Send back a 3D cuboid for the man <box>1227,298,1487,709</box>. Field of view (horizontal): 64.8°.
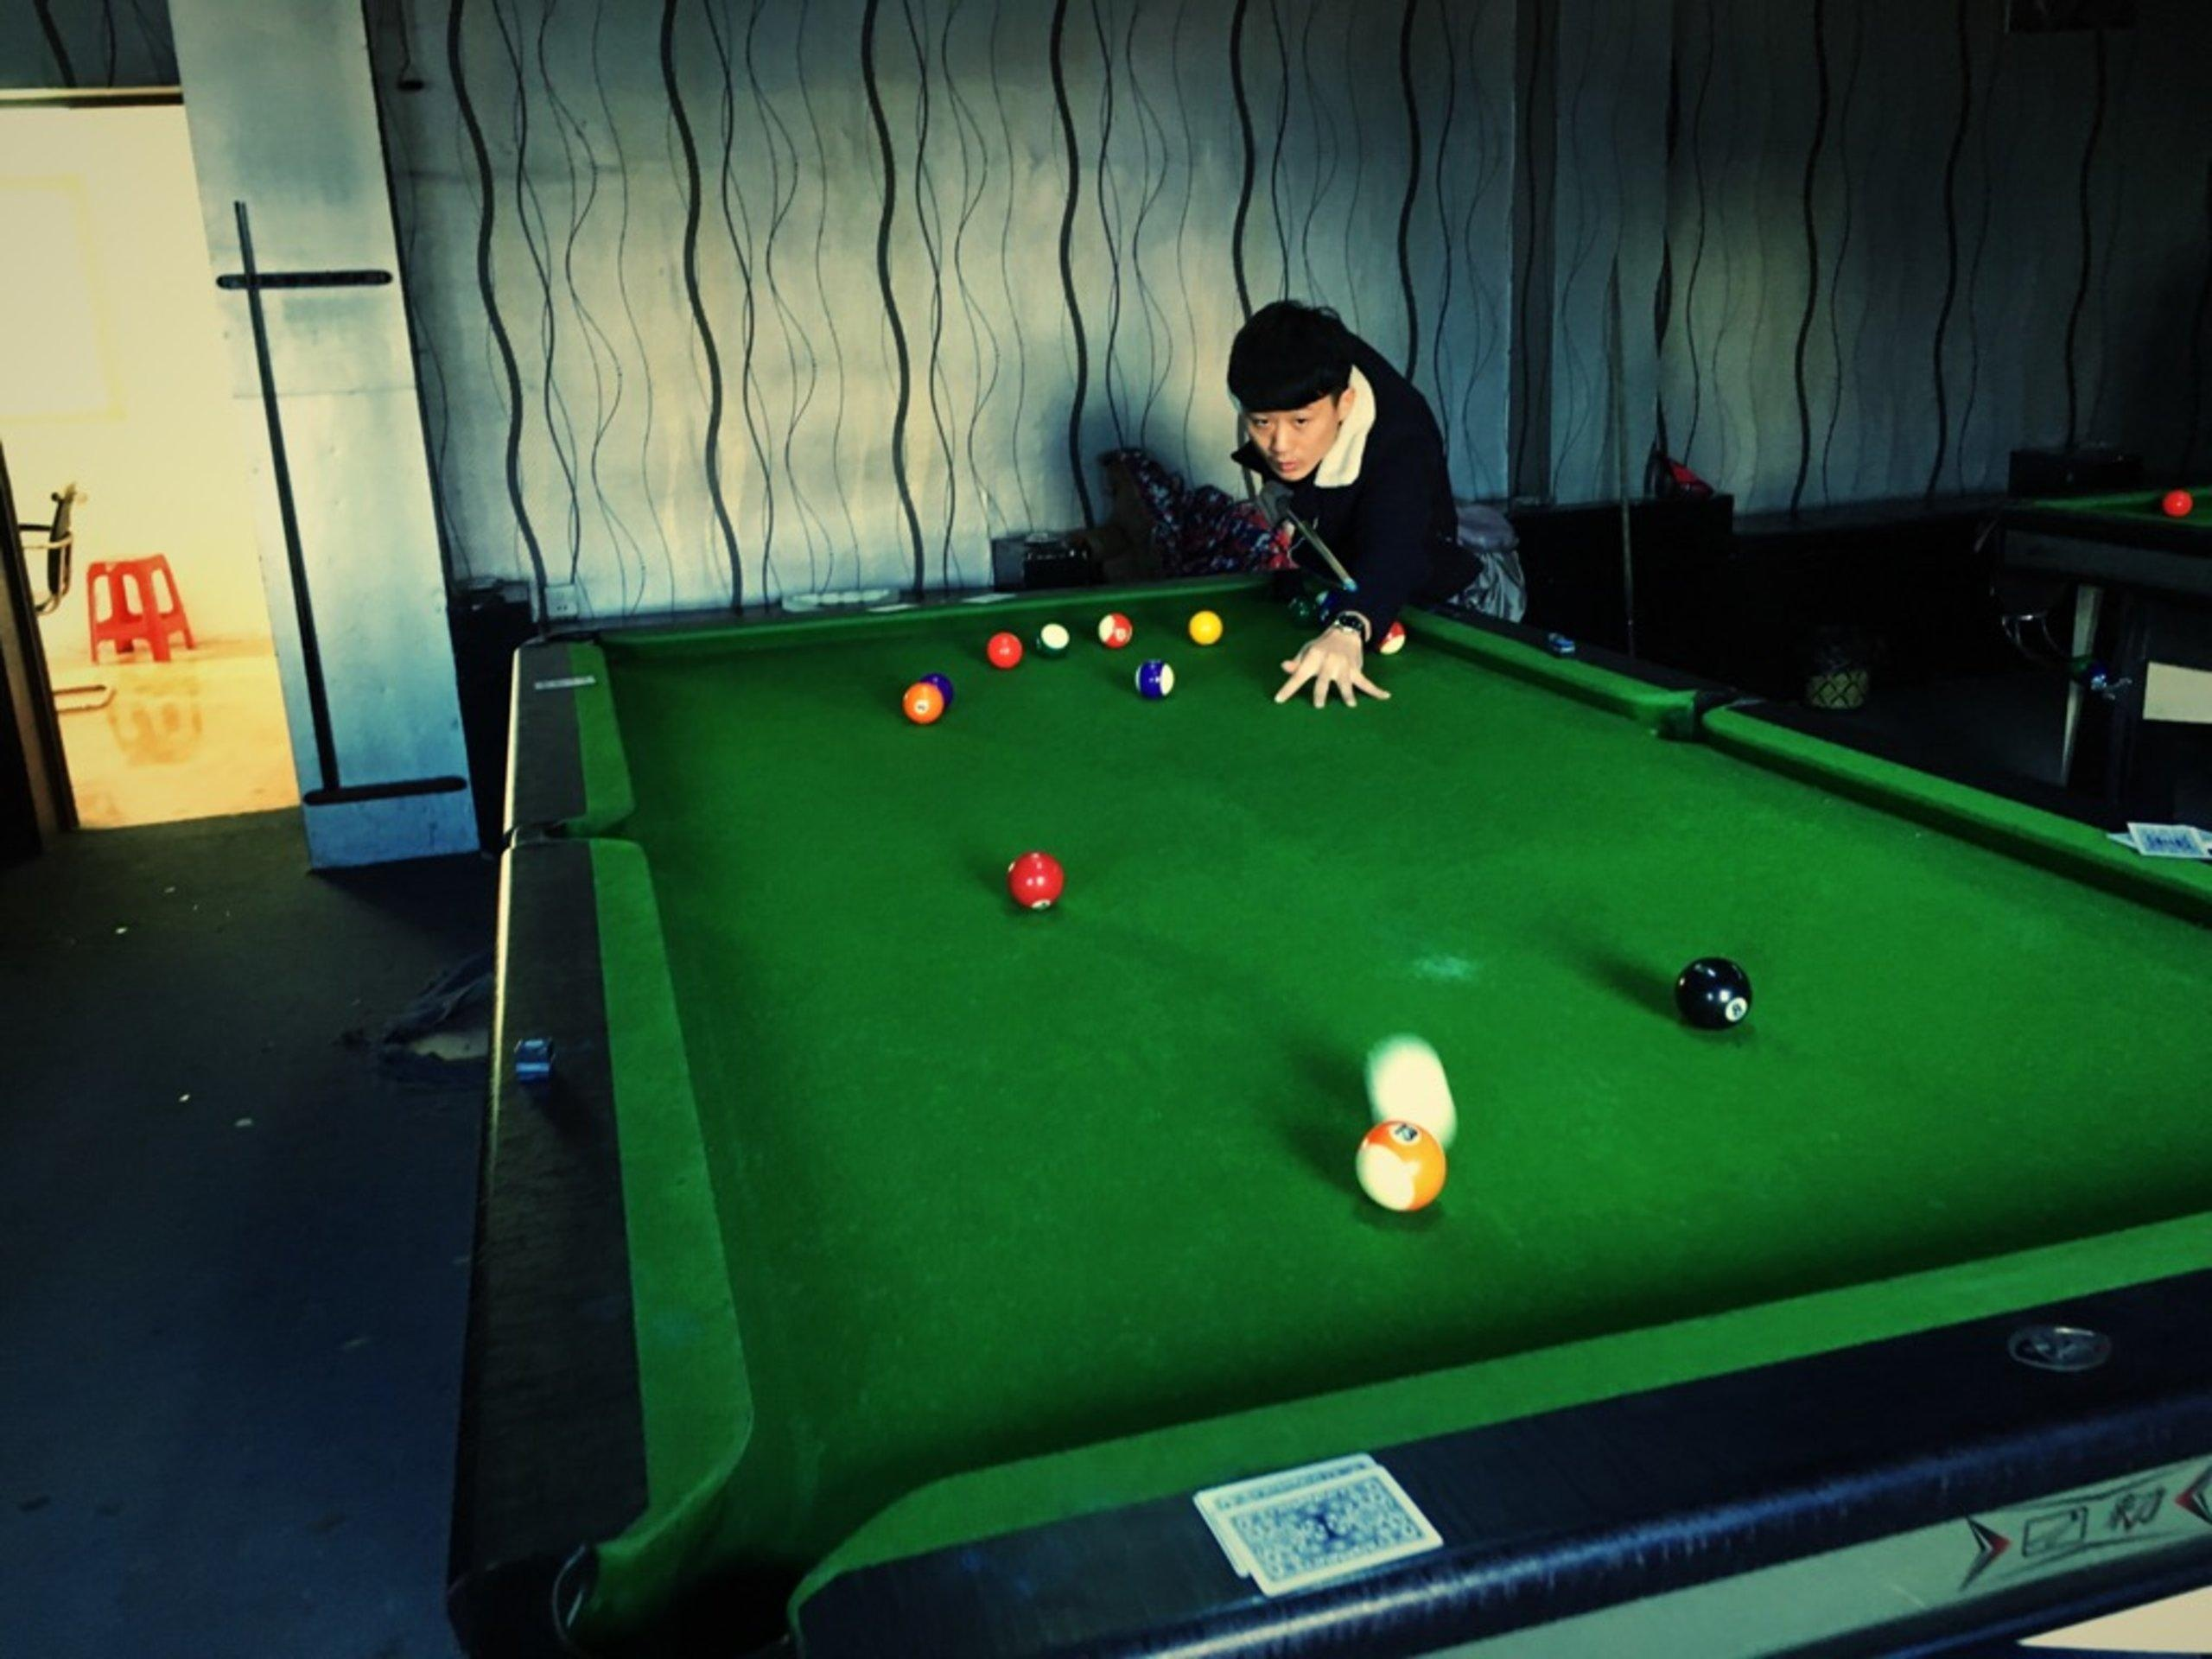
[{"bbox_3d":[0.464,-0.534,3.329,0.354,0.906,0.845,-8,31,5],"label":"man"}]

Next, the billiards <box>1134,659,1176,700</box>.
[{"bbox_3d":[0.080,-0.249,2.850,0.063,0.039,0.065,22,28,34],"label":"billiards"}]

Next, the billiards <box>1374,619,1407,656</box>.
[{"bbox_3d":[0.494,-0.328,3.016,0.046,0.059,0.048,1,29,-26],"label":"billiards"}]

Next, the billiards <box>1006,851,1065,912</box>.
[{"bbox_3d":[-0.088,0.060,2.032,0.060,0.067,0.060,-1,4,-34],"label":"billiards"}]

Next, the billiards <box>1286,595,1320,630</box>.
[{"bbox_3d":[0.376,-0.403,3.308,0.057,0.079,0.061,-10,6,-8],"label":"billiards"}]

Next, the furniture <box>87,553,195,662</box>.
[{"bbox_3d":[-3.865,-0.874,6.919,0.329,0.434,0.357,2,16,0],"label":"furniture"}]

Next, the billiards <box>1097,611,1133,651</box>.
[{"bbox_3d":[0.014,-0.368,3.208,0.065,0.042,0.070,14,31,23],"label":"billiards"}]

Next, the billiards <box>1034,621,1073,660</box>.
[{"bbox_3d":[-0.093,-0.333,3.213,0.062,0.041,0.068,-23,62,-27],"label":"billiards"}]

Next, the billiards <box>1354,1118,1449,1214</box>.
[{"bbox_3d":[0.254,0.293,1.529,0.066,0.079,0.078,12,38,-9],"label":"billiards"}]

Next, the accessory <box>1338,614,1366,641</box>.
[{"bbox_3d":[0.414,-0.340,2.903,0.046,0.027,0.049,23,21,-3],"label":"accessory"}]

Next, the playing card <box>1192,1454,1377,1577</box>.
[{"bbox_3d":[0.116,0.474,1.202,0.070,0.019,0.068,-9,16,-18],"label":"playing card"}]

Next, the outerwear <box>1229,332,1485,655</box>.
[{"bbox_3d":[0.438,-0.660,3.445,0.306,0.457,0.844,9,13,-35],"label":"outerwear"}]

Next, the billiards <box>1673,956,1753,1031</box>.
[{"bbox_3d":[0.596,0.166,1.701,0.069,0.080,0.065,2,5,-11],"label":"billiards"}]

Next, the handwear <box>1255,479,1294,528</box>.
[{"bbox_3d":[0.348,-0.652,3.489,0.022,0.065,0.134,1,32,-27],"label":"handwear"}]

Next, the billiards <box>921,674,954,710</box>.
[{"bbox_3d":[-0.269,-0.216,2.780,0.029,0.055,0.045,-34,5,17],"label":"billiards"}]
